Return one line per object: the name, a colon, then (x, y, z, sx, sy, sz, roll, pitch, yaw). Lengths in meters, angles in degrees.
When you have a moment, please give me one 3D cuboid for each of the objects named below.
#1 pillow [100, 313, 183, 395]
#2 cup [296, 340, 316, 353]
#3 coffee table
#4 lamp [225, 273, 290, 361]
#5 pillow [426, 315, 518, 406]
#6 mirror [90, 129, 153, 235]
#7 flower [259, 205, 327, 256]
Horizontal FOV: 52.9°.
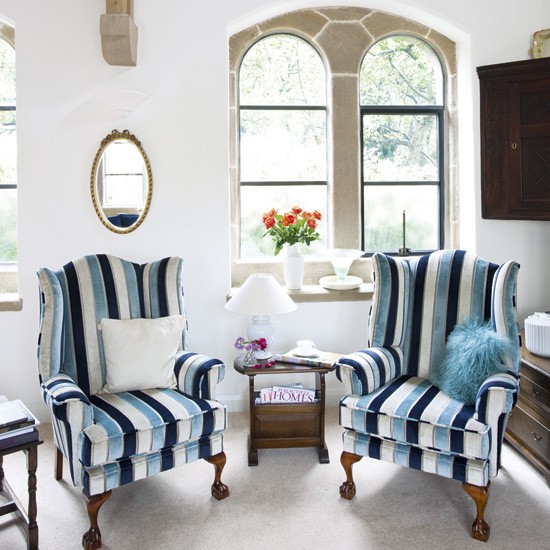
pillow: (-0.688, 0.412, 2.781, 0.304, 0.337, 0.114, 2, -18, -20)
cup: (0.181, 0.417, 3.220, 0.077, 0.047, 0.063, 3, 0, -2)
coffee table: (0.062, 0.690, 3.113, 0.495, 0.568, 0.489, 0, 0, -2)
lamp: (-0.087, 0.239, 3.179, 0.356, 0.474, 0.388, -2, 7, -17)
pillow: (0.963, 0.405, 2.724, 0.324, 0.316, 0.431, -2, 10, -7)
mirror: (-0.985, -0.596, 3.535, 0.399, 0.743, 0.027, -5, 30, -23)
flower: (0.186, -0.305, 3.727, 0.312, 0.203, 0.336, -11, -15, 37)
